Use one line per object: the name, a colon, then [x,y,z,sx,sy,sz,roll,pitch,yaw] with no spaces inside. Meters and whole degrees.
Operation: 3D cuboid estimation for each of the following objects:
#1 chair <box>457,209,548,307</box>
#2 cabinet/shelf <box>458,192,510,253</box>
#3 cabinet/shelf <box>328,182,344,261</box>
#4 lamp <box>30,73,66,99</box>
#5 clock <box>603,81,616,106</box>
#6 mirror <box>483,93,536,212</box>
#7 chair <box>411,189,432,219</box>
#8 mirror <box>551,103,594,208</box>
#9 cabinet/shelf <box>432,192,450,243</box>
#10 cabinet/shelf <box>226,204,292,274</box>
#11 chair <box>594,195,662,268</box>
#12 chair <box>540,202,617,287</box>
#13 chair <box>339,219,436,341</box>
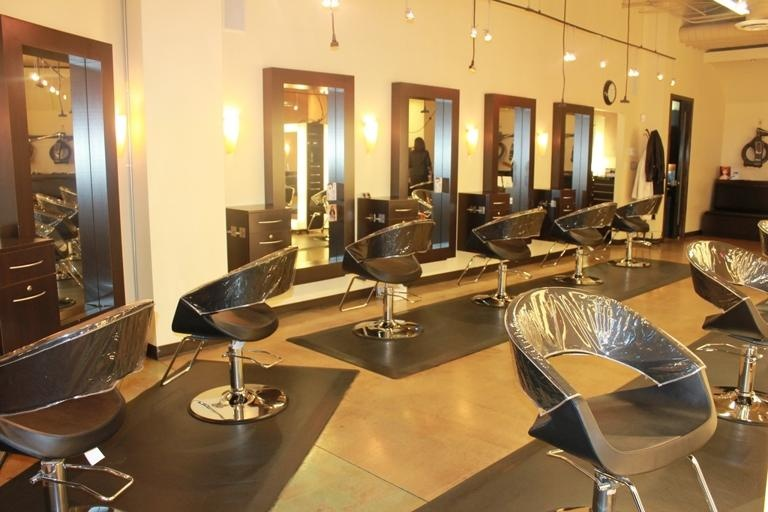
chair: [1.516,-0.022,6.675,0.947,1.130,0.843,-6,8,-38]
cabinet/shelf: [1.490,-0.529,8.058,0.568,0.766,0.811,6,9,33]
cabinet/shelf: [-0.597,-0.426,6.574,0.122,0.983,0.204,-3,3,-39]
lamp: [-2.729,-1.384,4.377,0.072,0.054,0.181,26,3,14]
clock: [4.247,-3.068,10.150,0.102,0.421,0.434,1,13,30]
mirror: [1.960,-1.589,8.443,0.407,1.814,1.249,12,19,40]
chair: [0.521,-0.723,7.400,0.304,0.373,0.395,-9,20,-22]
mirror: [3.366,-1.767,9.633,0.318,1.848,1.295,13,19,40]
cabinet/shelf: [0.891,-0.447,7.852,0.261,0.794,0.457,-6,-29,21]
cabinet/shelf: [-1.329,-0.209,5.774,0.590,0.660,0.527,-8,24,-24]
chair: [4.135,-0.458,9.035,0.871,1.137,1.022,1,8,37]
chair: [2.915,-0.166,8.225,1.134,1.198,0.902,-12,22,-42]
chair: [0.030,0.192,5.607,0.815,1.138,0.924,6,9,30]
